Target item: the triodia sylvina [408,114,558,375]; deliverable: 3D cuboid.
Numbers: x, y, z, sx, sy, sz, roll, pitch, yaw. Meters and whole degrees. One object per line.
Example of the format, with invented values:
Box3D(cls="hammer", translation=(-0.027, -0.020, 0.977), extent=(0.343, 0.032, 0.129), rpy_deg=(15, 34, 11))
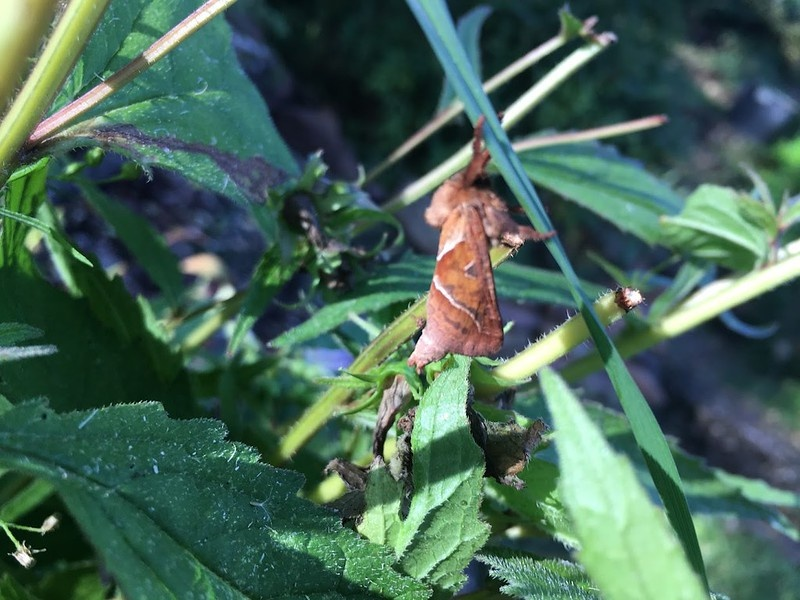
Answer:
Box3D(cls="triodia sylvina", translation=(0.053, -0.023, 0.670), extent=(0.110, 0.195, 0.041), rpy_deg=(33, 11, 6))
